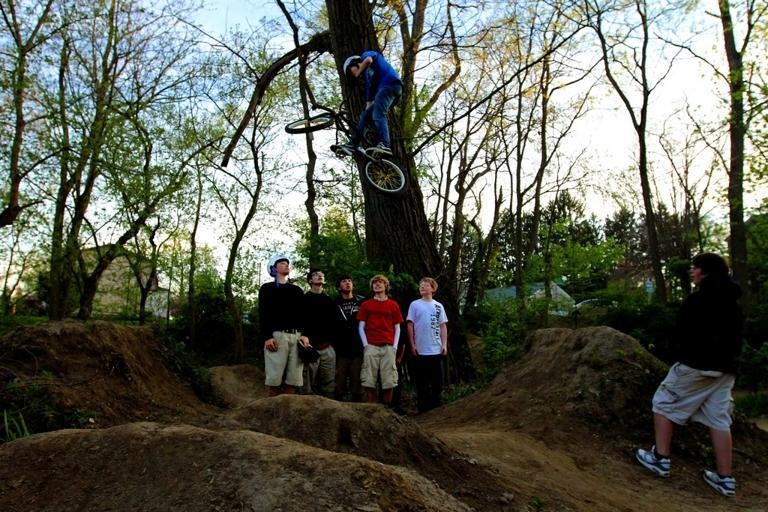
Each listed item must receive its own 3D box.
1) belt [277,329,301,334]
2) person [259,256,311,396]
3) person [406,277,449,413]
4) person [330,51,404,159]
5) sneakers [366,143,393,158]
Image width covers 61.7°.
[{"bbox_3d":[-1.725,1.380,11.760,0.379,0.085,0.042,1,12,-30],"label":"belt"},{"bbox_3d":[-1.841,1.246,11.816,0.935,2.350,0.859,4,11,-12],"label":"person"},{"bbox_3d":[0.801,1.783,12.480,0.817,2.639,0.724,7,11,4],"label":"person"},{"bbox_3d":[-0.362,-3.269,13.879,1.149,2.308,1.562,1,12,-27],"label":"person"},{"bbox_3d":[-0.118,-2.212,13.762,0.555,0.276,0.265,17,0,30],"label":"sneakers"}]
